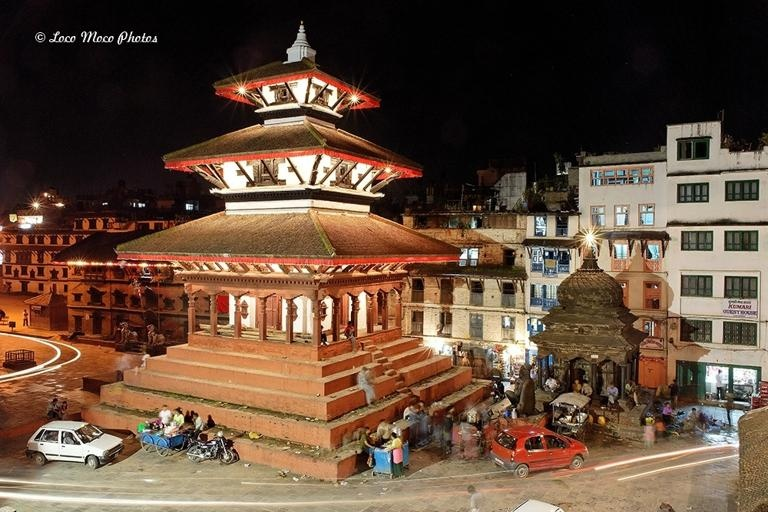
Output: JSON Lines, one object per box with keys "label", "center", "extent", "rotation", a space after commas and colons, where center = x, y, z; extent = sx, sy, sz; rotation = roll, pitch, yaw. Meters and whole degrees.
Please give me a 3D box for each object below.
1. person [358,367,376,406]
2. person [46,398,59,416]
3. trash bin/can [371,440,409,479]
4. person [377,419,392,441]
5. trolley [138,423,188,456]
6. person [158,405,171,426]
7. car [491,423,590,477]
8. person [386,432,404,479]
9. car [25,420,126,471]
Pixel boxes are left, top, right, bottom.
{"label": "person", "center": [-0.994, 7.374, 34.907], "extent": [1.097, 1.968, 1.135], "rotation": [-3, 11, -14]}
{"label": "person", "center": [-20.035, 9.230, 36.771], "extent": [0.715, 1.016, 0.953], "rotation": [-2, 11, -13]}
{"label": "trash bin/can", "center": [0.368, 10.281, 31.657], "extent": [1.591, 1.636, 2.134], "rotation": [-2, -1, 31]}
{"label": "person", "center": [0.020, 9.239, 32.146], "extent": [0.711, 0.850, 0.321], "rotation": [-1, -29, -6]}
{"label": "trolley", "center": [-12.088, 10.153, 33.398], "extent": [2.272, 0.970, 1.345], "rotation": [3, 7, 29]}
{"label": "person", "center": [-12.054, 8.759, 33.445], "extent": [0.600, 0.854, 0.974], "rotation": [-8, 13, -35]}
{"label": "car", "center": [7.985, 10.173, 31.861], "extent": [4.176, 1.656, 2.409], "rotation": [-4, 9, -15]}
{"label": "person", "center": [0.546, 10.157, 31.030], "extent": [0.868, 2.182, 0.582], "rotation": [-2, 12, -10]}
{"label": "car", "center": [-16.458, 10.179, 32.669], "extent": [4.226, 1.651, 2.390], "rotation": [1, 7, 9]}
